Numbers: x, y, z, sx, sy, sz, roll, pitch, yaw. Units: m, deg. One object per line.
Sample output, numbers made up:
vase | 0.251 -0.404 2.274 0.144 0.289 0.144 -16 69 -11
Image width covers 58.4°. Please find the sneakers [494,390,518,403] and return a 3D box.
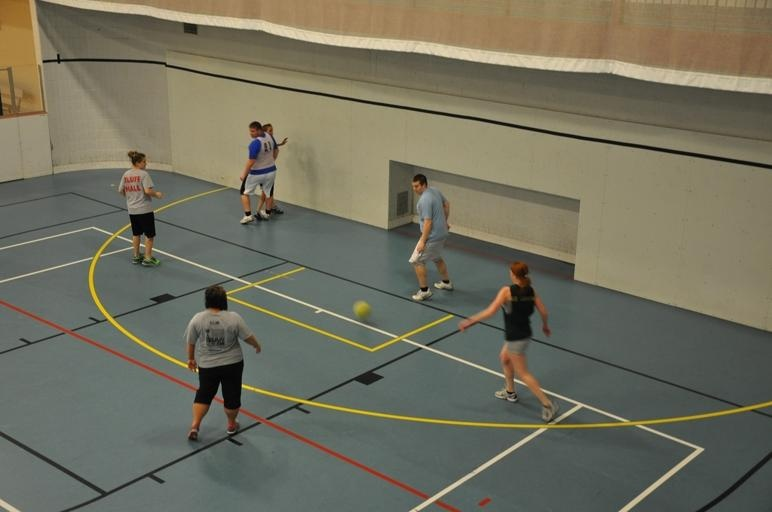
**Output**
sneakers | 2.071 2.373 11.763 0.391 0.184 0.161 20 31 32

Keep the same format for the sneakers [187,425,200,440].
sneakers | -2.996 2.764 10.843 0.128 0.242 0.223 6 20 -3

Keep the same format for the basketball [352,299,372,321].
basketball | -0.433 1.053 13.980 0.331 0.413 0.334 -22 19 -21

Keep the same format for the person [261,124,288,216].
person | -3.008 -2.380 18.608 0.803 2.755 0.808 -6 43 -7

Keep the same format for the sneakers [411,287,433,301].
sneakers | 0.771 0.783 14.682 0.431 0.228 0.209 -14 37 2

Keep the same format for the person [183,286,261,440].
person | -2.550 1.699 10.522 0.955 2.513 0.347 0 19 -12

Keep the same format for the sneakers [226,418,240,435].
sneakers | -2.426 2.688 10.980 0.120 0.138 0.312 6 24 6

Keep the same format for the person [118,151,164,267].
person | -5.463 -0.995 15.416 0.824 2.563 0.362 7 19 10

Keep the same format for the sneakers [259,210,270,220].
sneakers | -3.239 -1.104 18.459 0.162 0.381 0.133 -29 22 2

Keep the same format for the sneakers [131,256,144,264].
sneakers | -5.706 0.086 15.885 0.126 0.151 0.310 7 21 18

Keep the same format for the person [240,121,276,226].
person | -3.335 -2.184 18.073 0.873 2.608 1.352 1 19 -7

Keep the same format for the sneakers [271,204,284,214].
sneakers | -2.984 -1.277 18.852 0.374 0.256 0.145 -5 27 -13

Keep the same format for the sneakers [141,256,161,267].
sneakers | -5.368 0.135 15.768 0.394 0.197 0.181 -7 27 -26

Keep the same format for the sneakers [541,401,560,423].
sneakers | 2.690 2.545 11.259 0.170 0.264 0.380 11 44 31
